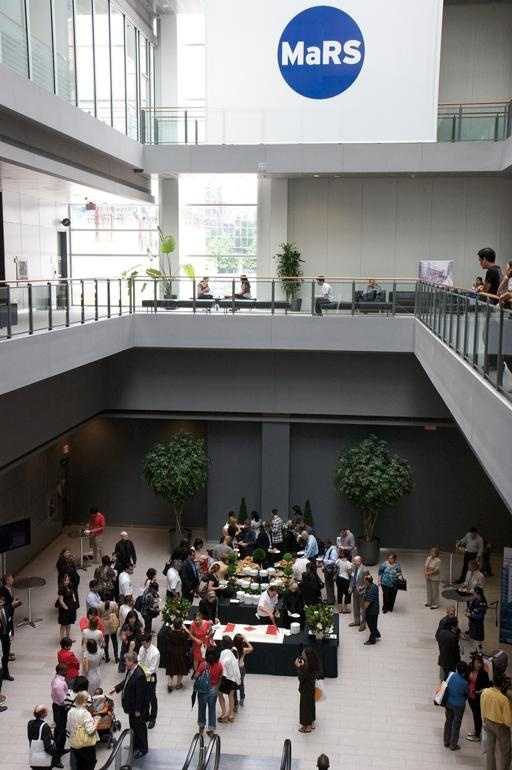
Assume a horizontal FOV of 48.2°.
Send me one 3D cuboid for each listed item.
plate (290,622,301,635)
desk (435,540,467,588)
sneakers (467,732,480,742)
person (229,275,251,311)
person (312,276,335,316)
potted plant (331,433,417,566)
[{"bbox_3d":[0.618,3.864,9.107,0.153,0.166,0.172,0,6,2],"label":"plate"},{"bbox_3d":[4.492,4.164,13.269,0.759,1.192,0.841,0,6,0],"label":"desk"},{"bbox_3d":[2.771,4.518,7.284,0.141,0.074,0.064,4,3,32],"label":"sneakers"},{"bbox_3d":[-0.380,-2.230,13.608,0.514,0.789,0.275,0,-2,24],"label":"person"},{"bbox_3d":[1.563,-2.149,13.437,0.599,1.275,0.517,6,14,21],"label":"person"},{"bbox_3d":[2.926,2.741,14.301,2.350,4.383,2.456,0,10,7],"label":"potted plant"}]
